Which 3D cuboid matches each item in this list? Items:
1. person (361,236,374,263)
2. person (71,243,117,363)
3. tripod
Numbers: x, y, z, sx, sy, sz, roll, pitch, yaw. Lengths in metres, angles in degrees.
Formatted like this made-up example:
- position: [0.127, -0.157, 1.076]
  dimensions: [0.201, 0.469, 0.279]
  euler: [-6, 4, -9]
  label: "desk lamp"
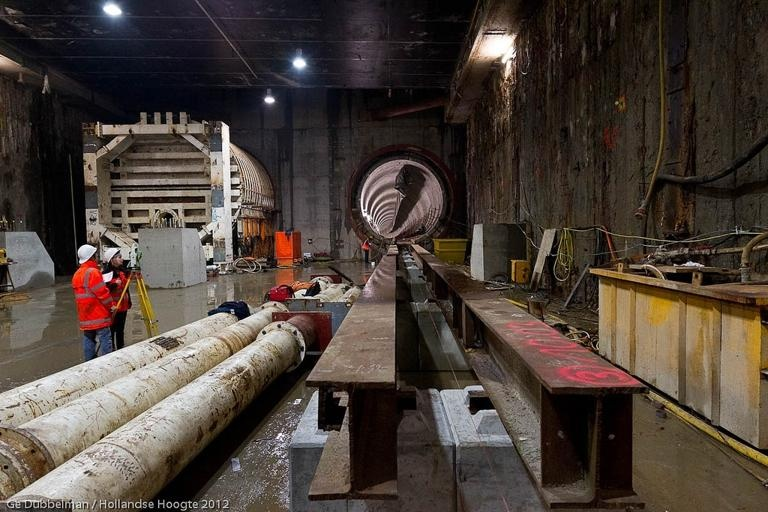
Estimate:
- position: [-0.653, -0.223, 18.852]
  dimensions: [0.356, 0.792, 1.077]
  euler: [-1, 3, -3]
  label: "person"
- position: [-4.011, 0.668, 7.115]
  dimensions: [0.464, 1.621, 1.163]
  euler: [-3, 4, -30]
  label: "person"
- position: [-4.061, 0.782, 8.121]
  dimensions: [1.010, 1.364, 0.899]
  euler: [-1, -3, -8]
  label: "tripod"
